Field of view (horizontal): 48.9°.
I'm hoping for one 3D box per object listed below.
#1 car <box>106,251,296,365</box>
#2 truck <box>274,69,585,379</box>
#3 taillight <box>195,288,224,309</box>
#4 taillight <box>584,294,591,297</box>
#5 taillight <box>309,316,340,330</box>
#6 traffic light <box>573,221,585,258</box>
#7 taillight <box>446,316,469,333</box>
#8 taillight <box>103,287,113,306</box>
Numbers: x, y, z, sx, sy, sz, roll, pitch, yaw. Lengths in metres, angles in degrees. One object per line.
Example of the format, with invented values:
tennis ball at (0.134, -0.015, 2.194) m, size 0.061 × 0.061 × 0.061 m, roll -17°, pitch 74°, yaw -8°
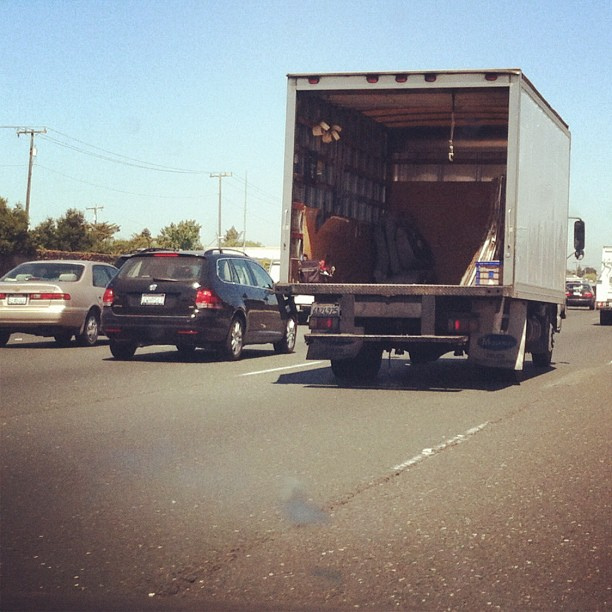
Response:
car at (-1.942, 0.019, 13.329) m, size 1.756 × 2.121 × 3.893 m, roll 3°, pitch 4°, yaw 41°
truck at (2.434, -1.571, 12.424) m, size 3.284 × 5.306 × 7.774 m, roll -4°, pitch 3°, yaw 25°
taillight at (-1.766, -0.132, 12.334) m, size 0.506 × 0.379 × 0.242 m, roll 0°, pitch 2°, yaw -14°
taillight at (22.564, -0.834, 54.044) m, size 0.482 × 0.195 × 0.157 m, roll 1°, pitch 3°, yaw 7°
taillight at (0.274, 0.254, 9.949) m, size 0.442 × 0.210 × 0.087 m, roll 1°, pitch 2°, yaw 3°
traffic light at (5.820, -1.295, 14.307) m, size 0.221 × 0.296 × 1.083 m, roll 6°, pitch 53°, yaw 18°
taillight at (2.216, 0.281, 9.850) m, size 0.352 × 0.219 × 0.083 m, roll -1°, pitch 2°, yaw -24°
taillight at (-3.681, -0.170, 12.564) m, size 0.283 × 0.336 × 0.103 m, roll 2°, pitch 3°, yaw 36°
